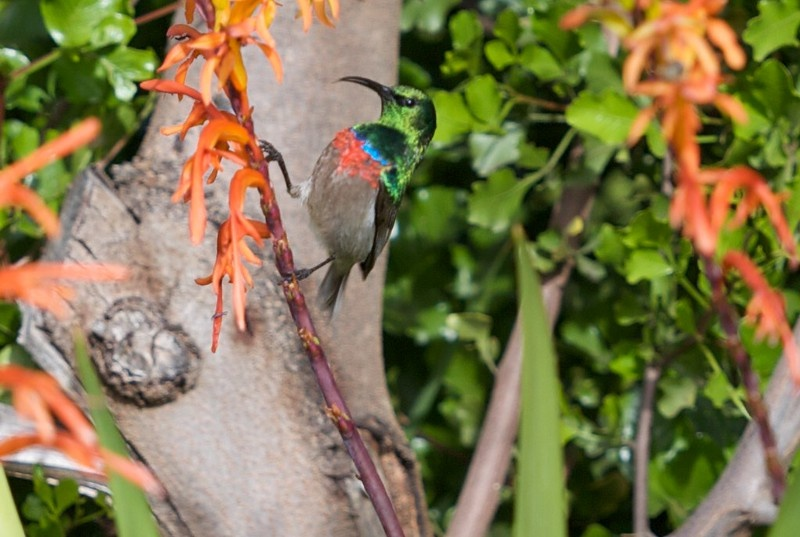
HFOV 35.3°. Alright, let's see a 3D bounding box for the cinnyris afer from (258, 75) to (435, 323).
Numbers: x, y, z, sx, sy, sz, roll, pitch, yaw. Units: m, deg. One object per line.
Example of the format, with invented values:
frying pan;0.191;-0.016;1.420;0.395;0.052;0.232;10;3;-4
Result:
cinnyris afer;-0.096;-0.170;2.389;0.315;0.429;0.166;8;25;7
